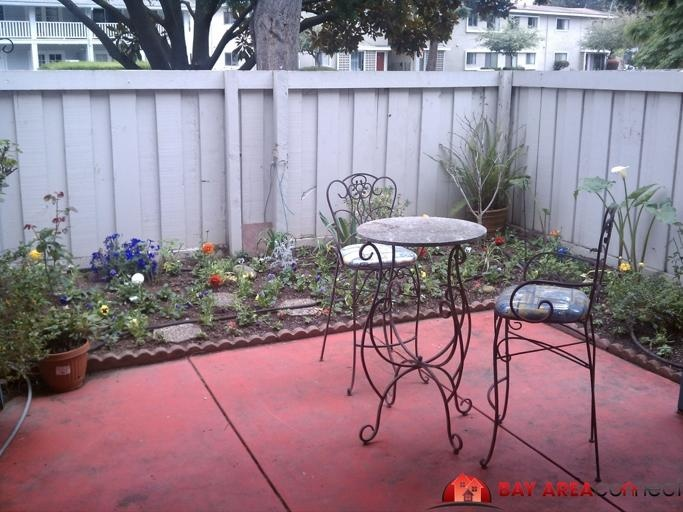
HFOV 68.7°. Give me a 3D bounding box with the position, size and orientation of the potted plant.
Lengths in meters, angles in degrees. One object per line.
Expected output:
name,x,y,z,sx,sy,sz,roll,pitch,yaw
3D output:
potted plant,1.623,-1.085,6.209,1.271,1.583,1.125,6,18,32

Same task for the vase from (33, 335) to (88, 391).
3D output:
vase,-1.805,0.730,3.213,0.302,0.264,0.318,-10,-8,-16

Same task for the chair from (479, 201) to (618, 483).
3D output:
chair,1.131,0.451,2.756,0.652,1.344,0.550,3,4,31
